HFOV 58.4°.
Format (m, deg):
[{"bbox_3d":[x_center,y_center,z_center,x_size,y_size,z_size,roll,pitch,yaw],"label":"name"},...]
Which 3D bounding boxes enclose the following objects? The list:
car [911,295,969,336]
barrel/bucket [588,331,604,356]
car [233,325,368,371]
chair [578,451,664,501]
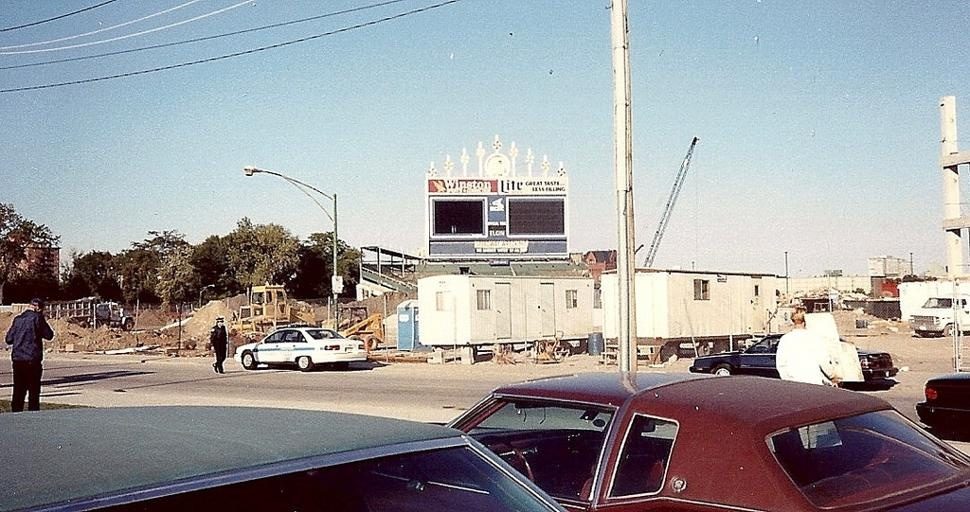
[{"bbox_3d":[23.926,3.110,45.292,2.360,2.209,4.216,1,-4,4],"label":"car"},{"bbox_3d":[4.817,3.829,37.702,0.452,0.962,1.053,5,-5,-32],"label":"barrel/bucket"},{"bbox_3d":[-7.112,3.561,33.252,4.740,1.688,1.156,0,-5,25],"label":"car"},{"bbox_3d":[1.629,2.539,10.167,0.490,0.716,0.801,4,-3,34],"label":"chair"}]
